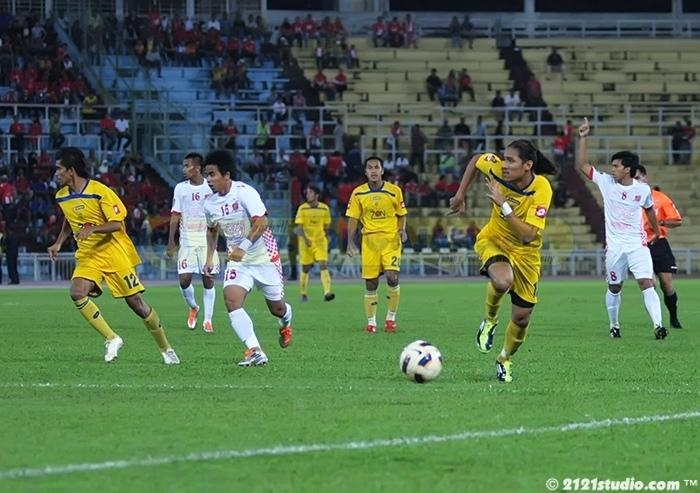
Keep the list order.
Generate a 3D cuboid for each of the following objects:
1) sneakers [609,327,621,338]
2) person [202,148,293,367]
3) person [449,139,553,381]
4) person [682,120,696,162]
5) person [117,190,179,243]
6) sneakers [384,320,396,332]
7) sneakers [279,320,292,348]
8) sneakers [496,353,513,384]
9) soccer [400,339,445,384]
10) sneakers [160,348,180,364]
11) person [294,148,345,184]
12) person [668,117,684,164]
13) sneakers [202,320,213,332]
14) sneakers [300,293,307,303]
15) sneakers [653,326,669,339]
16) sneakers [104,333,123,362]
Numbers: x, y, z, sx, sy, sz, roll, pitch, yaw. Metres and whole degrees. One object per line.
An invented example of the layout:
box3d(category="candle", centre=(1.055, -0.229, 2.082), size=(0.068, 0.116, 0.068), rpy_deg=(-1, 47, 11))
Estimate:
box3d(category="sneakers", centre=(4.863, 1.563, 23.310), size=(0.229, 0.169, 0.301), rpy_deg=(-4, -14, 11))
box3d(category="person", centre=(-1.777, 0.142, 21.171), size=(1.294, 3.501, 1.099), rpy_deg=(5, 10, 24))
box3d(category="person", centre=(2.576, 0.133, 20.543), size=(1.005, 3.784, 1.413), rpy_deg=(-2, 10, -19))
box3d(category="person", centre=(11.258, -3.520, 42.325), size=(0.399, 1.420, 0.948), rpy_deg=(3, 9, 15))
box3d(category="person", centre=(-5.679, -0.916, 36.341), size=(1.231, 0.587, 1.586), rpy_deg=(0, 29, -5))
box3d(category="sneakers", centre=(0.785, 1.475, 23.996), size=(0.154, 0.211, 0.449), rpy_deg=(-1, -8, 2))
box3d(category="sneakers", centre=(-1.071, 1.491, 21.788), size=(0.169, 0.487, 0.205), rpy_deg=(0, 19, 2))
box3d(category="sneakers", centre=(2.501, 1.929, 20.202), size=(0.172, 0.226, 0.514), rpy_deg=(1, 24, -18))
box3d(category="soccer", centre=(1.127, 1.819, 20.124), size=(0.629, 0.621, 0.648), rpy_deg=(-11, -37, 11))
box3d(category="sneakers", centre=(-2.952, 1.796, 21.174), size=(0.161, 0.170, 0.396), rpy_deg=(-15, 9, -28))
box3d(category="person", centre=(-0.884, -2.419, 38.426), size=(1.177, 0.643, 0.314), rpy_deg=(0, -10, -6))
box3d(category="person", centre=(10.826, -3.494, 42.329), size=(0.491, 1.414, 1.116), rpy_deg=(3, 9, 14))
box3d(category="sneakers", centre=(-2.660, 1.485, 24.151), size=(0.169, 0.203, 0.462), rpy_deg=(1, -4, -18))
box3d(category="sneakers", centre=(-1.016, 1.155, 29.318), size=(0.147, 0.166, 0.149), rpy_deg=(0, -4, 0))
box3d(category="sneakers", centre=(5.580, 1.523, 22.883), size=(0.174, 0.113, 0.239), rpy_deg=(-3, 12, 0))
box3d(category="sneakers", centre=(-3.920, 1.702, 21.250), size=(0.253, 0.198, 0.550), rpy_deg=(19, 42, -3))
